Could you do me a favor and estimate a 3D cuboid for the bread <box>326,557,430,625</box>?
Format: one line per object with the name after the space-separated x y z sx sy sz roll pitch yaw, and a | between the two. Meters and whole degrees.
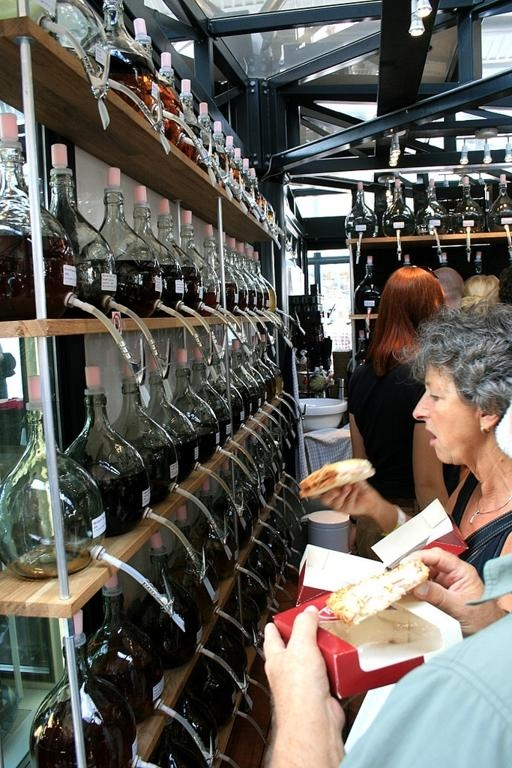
0.164 0.270 0.774 0.131 0.029 0.070 -20 12 -29 | bread
